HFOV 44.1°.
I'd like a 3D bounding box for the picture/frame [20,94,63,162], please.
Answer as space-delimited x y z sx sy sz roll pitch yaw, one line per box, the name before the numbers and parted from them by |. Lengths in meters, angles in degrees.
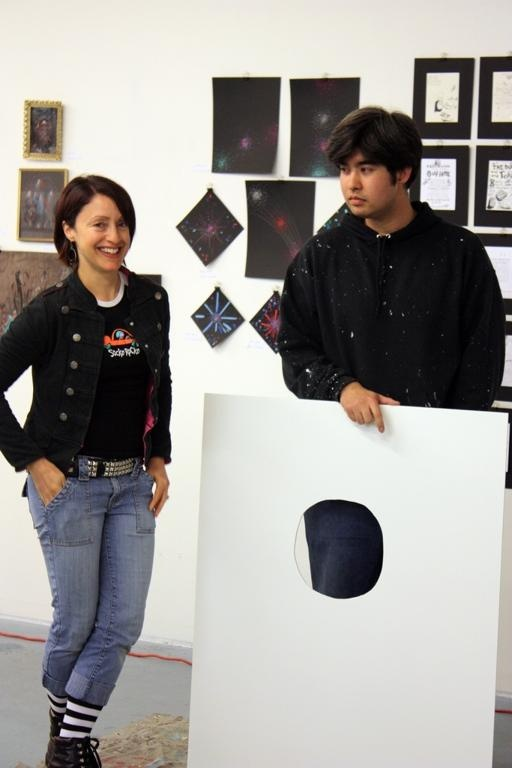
picture/frame | -0.882 -1.054 2.624 0.168 0.236 0.029 6 6 16
